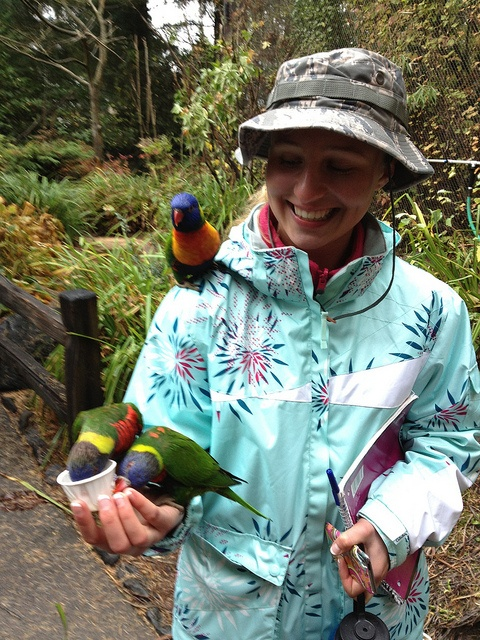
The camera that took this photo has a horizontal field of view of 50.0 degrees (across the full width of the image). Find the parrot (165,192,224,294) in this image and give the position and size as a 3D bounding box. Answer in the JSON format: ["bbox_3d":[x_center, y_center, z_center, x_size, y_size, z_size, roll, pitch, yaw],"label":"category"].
[{"bbox_3d":[-0.178,-0.287,1.922,0.210,0.357,0.366,-7,15,-13],"label":"parrot"}]

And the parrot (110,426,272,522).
[{"bbox_3d":[-0.112,0.272,0.932,0.286,0.176,0.097,1,-11,-24],"label":"parrot"}]

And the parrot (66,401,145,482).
[{"bbox_3d":[-0.230,0.208,0.935,0.070,0.069,0.169,-5,47,20],"label":"parrot"}]

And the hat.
[{"bbox_3d":[0.198,-0.419,1.026,0.423,0.229,0.370,3,19,-1],"label":"hat"}]
